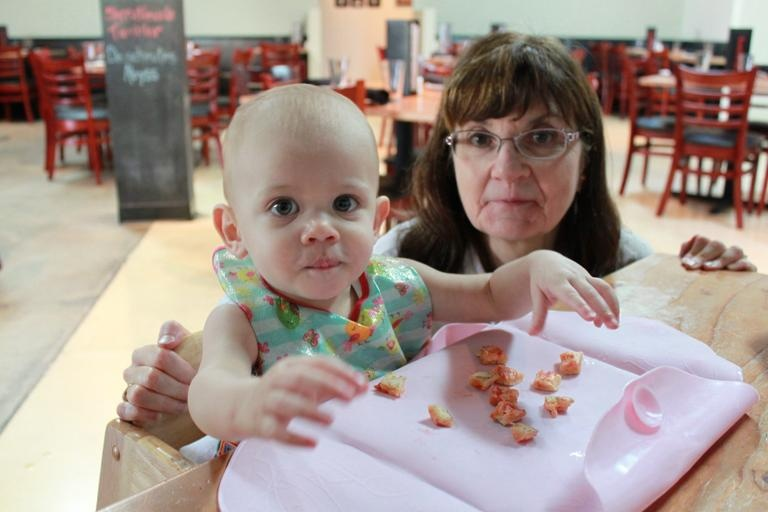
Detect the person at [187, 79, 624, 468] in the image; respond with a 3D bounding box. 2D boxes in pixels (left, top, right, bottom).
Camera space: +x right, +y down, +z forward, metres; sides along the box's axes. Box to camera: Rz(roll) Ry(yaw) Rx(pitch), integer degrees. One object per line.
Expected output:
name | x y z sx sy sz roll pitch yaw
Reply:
person | -0.007 0.018 1.032 0.698 0.597 0.498 -10 21 -24
